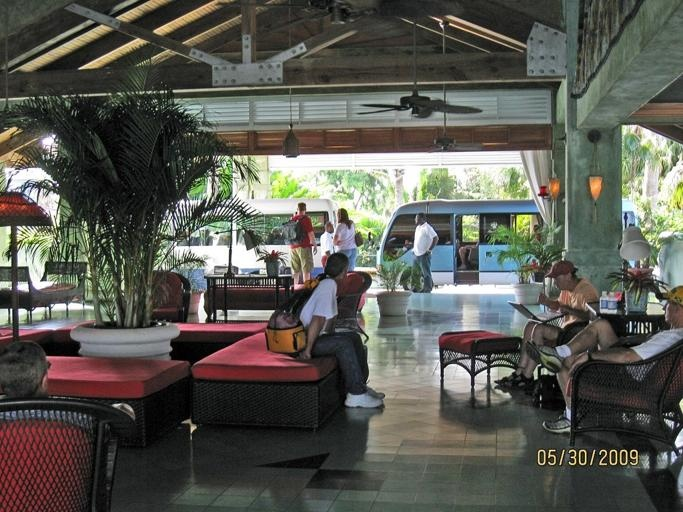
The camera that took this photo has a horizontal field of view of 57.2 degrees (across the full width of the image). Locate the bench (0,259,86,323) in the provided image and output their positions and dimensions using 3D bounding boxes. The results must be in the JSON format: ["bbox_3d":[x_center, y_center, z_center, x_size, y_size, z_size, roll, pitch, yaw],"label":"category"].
[{"bbox_3d":[-4.714,0.610,9.950,1.046,1.057,1.942,0,-2,4],"label":"bench"}]

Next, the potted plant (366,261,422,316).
[{"bbox_3d":[0.947,0.608,11.617,0.882,1.170,0.985,2,-4,-2],"label":"potted plant"}]

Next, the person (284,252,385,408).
[{"bbox_3d":[-0.018,0.641,5.545,0.861,1.290,0.563,4,2,0],"label":"person"}]

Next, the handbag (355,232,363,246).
[{"bbox_3d":[0.354,-0.334,12.882,0.146,0.344,0.350,1,1,13],"label":"handbag"}]

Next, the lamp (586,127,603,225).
[{"bbox_3d":[3.848,-1.201,9.499,0.215,1.381,0.271,-2,-1,23],"label":"lamp"}]

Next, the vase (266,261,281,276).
[{"bbox_3d":[-1.042,0.196,9.510,0.207,0.242,0.209,0,-1,-14],"label":"vase"}]

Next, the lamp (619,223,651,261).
[{"bbox_3d":[2.731,-0.124,5.846,0.245,0.332,0.320,-2,0,24],"label":"lamp"}]

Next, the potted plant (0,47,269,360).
[{"bbox_3d":[-1.628,-0.382,6.701,2.373,3.176,2.647,2,-4,-5],"label":"potted plant"}]

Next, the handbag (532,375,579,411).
[{"bbox_3d":[1.900,1.243,5.790,0.256,0.335,0.350,11,-21,-1],"label":"handbag"}]

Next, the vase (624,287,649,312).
[{"bbox_3d":[2.510,0.365,5.390,0.212,0.247,0.188,-1,-2,3],"label":"vase"}]

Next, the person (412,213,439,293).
[{"bbox_3d":[1.952,-0.062,14.852,0.477,1.972,0.850,-6,16,-20],"label":"person"}]

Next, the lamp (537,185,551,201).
[{"bbox_3d":[4.340,-1.350,13.408,0.250,0.249,0.254,-1,0,-11],"label":"lamp"}]

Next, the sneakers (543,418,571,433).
[{"bbox_3d":[1.677,1.304,4.850,0.220,0.109,0.082,1,0,11],"label":"sneakers"}]

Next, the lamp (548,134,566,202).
[{"bbox_3d":[4.408,-1.821,12.824,0.311,1.326,0.783,-2,-1,18],"label":"lamp"}]

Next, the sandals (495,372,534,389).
[{"bbox_3d":[1.651,1.207,6.027,0.271,0.105,0.168,1,3,34],"label":"sandals"}]

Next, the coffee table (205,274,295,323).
[{"bbox_3d":[-1.620,0.742,10.774,1.114,0.790,1.477,8,-9,-24],"label":"coffee table"}]

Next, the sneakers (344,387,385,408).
[{"bbox_3d":[0.209,1.254,5.626,0.384,0.199,0.144,-2,3,-6],"label":"sneakers"}]

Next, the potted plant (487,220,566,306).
[{"bbox_3d":[4.014,0.105,13.537,1.928,2.072,1.881,1,-8,4],"label":"potted plant"}]

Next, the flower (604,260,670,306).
[{"bbox_3d":[2.573,0.215,5.489,0.535,0.209,0.536,15,22,37],"label":"flower"}]

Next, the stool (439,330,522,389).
[{"bbox_3d":[1.338,0.994,6.333,0.597,0.447,0.536,0,9,-40],"label":"stool"}]

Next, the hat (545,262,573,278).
[{"bbox_3d":[2.119,0.130,6.099,0.221,0.138,0.148,-11,4,18],"label":"hat"}]

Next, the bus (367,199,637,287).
[{"bbox_3d":[4.422,-0.645,16.917,2.296,2.445,6.850,-22,13,-29],"label":"bus"}]

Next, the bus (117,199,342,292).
[{"bbox_3d":[-1.823,-0.528,16.972,3.639,1.859,1.192,-2,9,16],"label":"bus"}]

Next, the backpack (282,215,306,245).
[{"bbox_3d":[-0.832,-0.500,12.266,0.465,0.705,0.402,0,0,8],"label":"backpack"}]

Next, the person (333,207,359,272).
[{"bbox_3d":[0.071,-0.124,12.783,0.546,1.698,0.502,-7,14,-38],"label":"person"}]

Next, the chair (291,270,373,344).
[{"bbox_3d":[-0.033,0.589,8.250,0.760,0.930,0.746,1,-2,2],"label":"chair"}]

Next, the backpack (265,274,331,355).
[{"bbox_3d":[-0.318,0.517,5.386,0.630,0.592,0.357,-7,5,-37],"label":"backpack"}]
